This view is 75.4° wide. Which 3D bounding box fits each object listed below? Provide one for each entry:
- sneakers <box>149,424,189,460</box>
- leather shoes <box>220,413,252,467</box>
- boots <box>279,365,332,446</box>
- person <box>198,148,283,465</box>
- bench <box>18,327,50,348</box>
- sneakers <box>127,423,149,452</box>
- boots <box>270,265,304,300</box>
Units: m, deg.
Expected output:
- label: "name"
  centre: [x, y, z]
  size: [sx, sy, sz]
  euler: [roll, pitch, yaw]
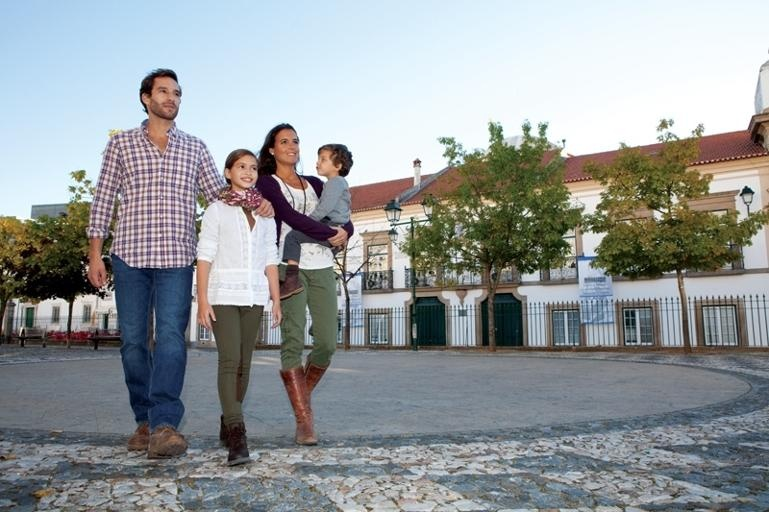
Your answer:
- label: "sneakers"
  centre: [-1.649, 1.424, 3.827]
  size: [0.166, 0.165, 0.360]
  euler: [15, -27, -40]
- label: "leather shoes"
  centre: [-1.190, 1.434, 3.917]
  size: [0.202, 0.229, 0.596]
  euler: [1, -10, -19]
- label: "boots"
  centre: [-0.735, 1.329, 4.553]
  size: [0.384, 0.666, 0.539]
  euler: [-1, -6, -6]
- label: "person"
  centre: [-1.142, 0.521, 3.992]
  size: [0.662, 2.046, 0.538]
  euler: [0, -6, -18]
- label: "bench"
  centre: [-25.084, 5.792, 35.719]
  size: [2.366, 1.328, 0.913]
  euler: [-2, -14, 8]
- label: "sneakers"
  centre: [-2.008, 1.473, 4.083]
  size: [0.156, 0.194, 0.228]
  euler: [1, -6, -27]
- label: "boots"
  centre: [-0.860, 0.212, 4.490]
  size: [0.358, 0.325, 0.165]
  euler: [-16, -8, -2]
